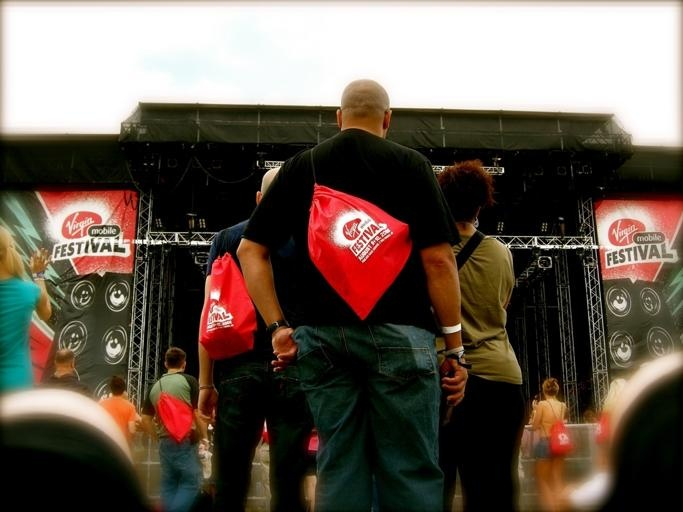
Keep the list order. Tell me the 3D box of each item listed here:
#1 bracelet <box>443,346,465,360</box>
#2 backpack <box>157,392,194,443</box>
[{"bbox_3d":[0.514,0.429,3.370,0.064,0.040,0.053,-1,-10,1],"label":"bracelet"},{"bbox_3d":[-1.308,1.278,6.056,0.091,0.373,0.305,-25,17,37],"label":"backpack"}]
